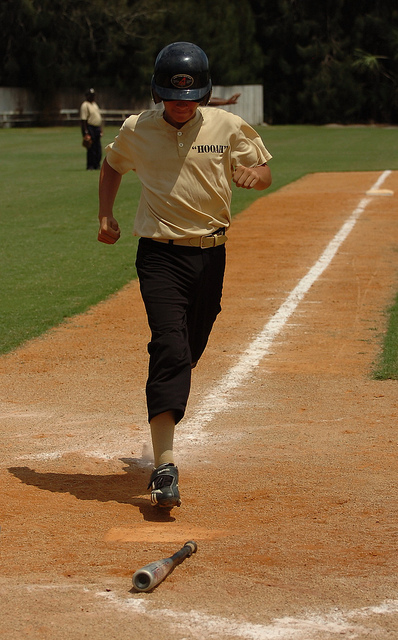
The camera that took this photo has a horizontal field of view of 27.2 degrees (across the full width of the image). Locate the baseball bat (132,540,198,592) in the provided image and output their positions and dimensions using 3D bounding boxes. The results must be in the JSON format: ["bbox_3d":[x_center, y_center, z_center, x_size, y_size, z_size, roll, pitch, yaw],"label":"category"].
[{"bbox_3d":[-0.116,0.793,2.688,0.068,0.049,0.329,-9,2,18],"label":"baseball bat"}]

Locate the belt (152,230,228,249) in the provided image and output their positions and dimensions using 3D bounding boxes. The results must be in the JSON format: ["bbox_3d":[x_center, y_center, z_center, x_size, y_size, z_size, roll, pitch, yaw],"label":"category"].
[{"bbox_3d":[0.013,-0.332,3.461,0.245,0.069,0.067,-10,15,-34],"label":"belt"}]

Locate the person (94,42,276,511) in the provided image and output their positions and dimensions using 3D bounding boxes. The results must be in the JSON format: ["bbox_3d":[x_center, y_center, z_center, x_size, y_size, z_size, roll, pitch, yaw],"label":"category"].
[{"bbox_3d":[-0.077,-0.275,3.420,0.753,1.724,0.821,-1,14,4],"label":"person"}]
